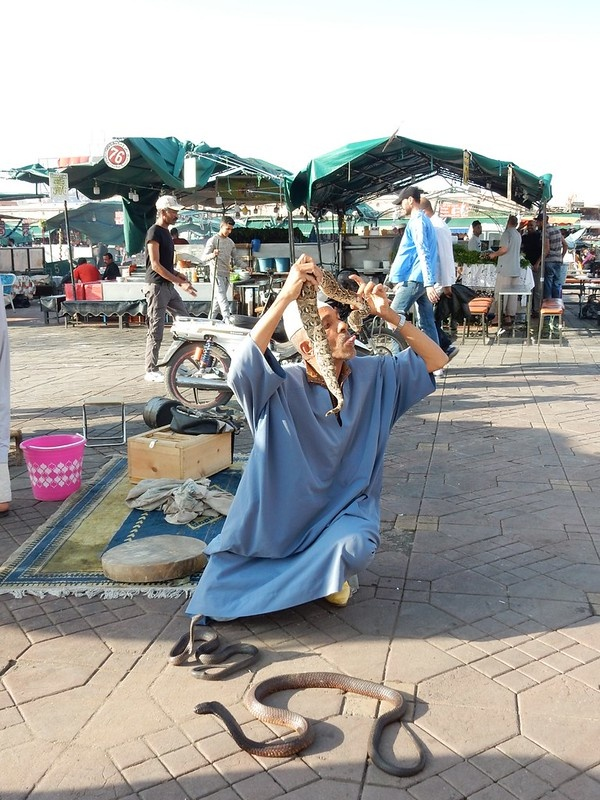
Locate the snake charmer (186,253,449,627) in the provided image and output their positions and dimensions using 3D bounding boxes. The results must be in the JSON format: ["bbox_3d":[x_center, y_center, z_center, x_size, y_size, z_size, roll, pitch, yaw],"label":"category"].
[{"bbox_3d":[0.066,0.195,2.782,1.204,1.584,0.553,-4,10,-18],"label":"snake charmer"}]

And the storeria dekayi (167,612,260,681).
[{"bbox_3d":[-0.374,0.944,2.499,0.365,0.152,0.275,6,11,40],"label":"storeria dekayi"}]

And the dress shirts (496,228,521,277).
[{"bbox_3d":[4.331,-3.035,13.128,0.438,0.978,0.656,2,9,15],"label":"dress shirts"}]

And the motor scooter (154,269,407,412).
[{"bbox_3d":[-0.281,-0.463,6.810,2.573,1.394,1.181,9,10,17],"label":"motor scooter"}]

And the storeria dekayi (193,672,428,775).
[{"bbox_3d":[0.059,1.026,2.058,0.745,0.091,0.476,3,9,25],"label":"storeria dekayi"}]

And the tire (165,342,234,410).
[{"bbox_3d":[-1.087,-0.236,7.108,0.990,0.856,0.286,5,1,28],"label":"tire"}]

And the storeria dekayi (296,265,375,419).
[{"bbox_3d":[0.144,-0.234,2.745,0.219,0.634,0.398,2,10,20],"label":"storeria dekayi"}]

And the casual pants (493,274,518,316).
[{"bbox_3d":[4.399,-2.289,13.596,0.531,0.596,0.933,2,27,5],"label":"casual pants"}]

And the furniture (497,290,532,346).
[{"bbox_3d":[4.589,-1.777,13.680,0.566,0.841,1.470,0,11,10],"label":"furniture"}]

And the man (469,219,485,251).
[{"bbox_3d":[4.030,-3.737,14.635,0.277,0.750,1.331,1,8,14],"label":"man"}]

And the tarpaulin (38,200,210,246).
[{"bbox_3d":[-10.543,-9.828,35.502,8.891,2.402,9.106,-13,19,-41],"label":"tarpaulin"}]

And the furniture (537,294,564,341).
[{"bbox_3d":[5.374,-1.773,13.660,0.469,0.726,1.568,0,13,17],"label":"furniture"}]

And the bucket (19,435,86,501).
[{"bbox_3d":[-1.695,0.473,4.597,0.487,0.396,0.481,0,6,0],"label":"bucket"}]
